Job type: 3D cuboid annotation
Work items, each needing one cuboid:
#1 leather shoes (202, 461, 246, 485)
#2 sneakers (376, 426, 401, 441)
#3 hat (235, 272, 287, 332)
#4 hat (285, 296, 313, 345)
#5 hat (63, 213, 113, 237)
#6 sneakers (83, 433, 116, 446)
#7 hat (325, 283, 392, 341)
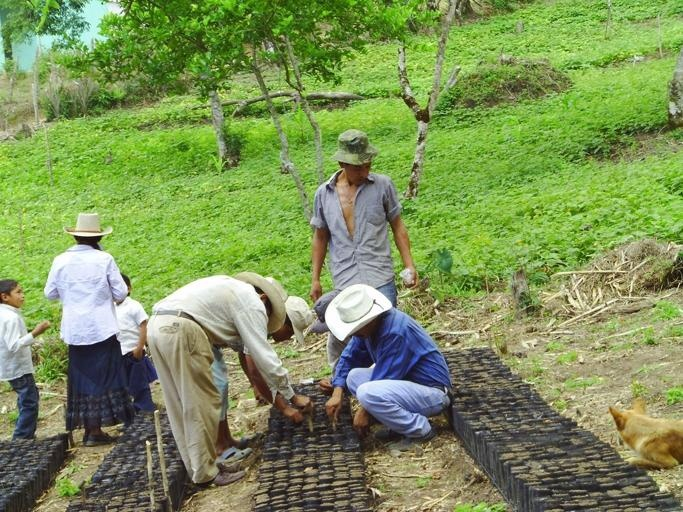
[{"bbox_3d":[-1.253,2.321,8.874,0.383,0.169,0.219,-5,33,-9],"label":"leather shoes"},{"bbox_3d":[0.520,1.925,9.002,0.285,0.116,0.118,10,13,-1],"label":"sneakers"},{"bbox_3d":[-0.773,0.522,8.912,0.188,0.613,0.616,-22,25,-36],"label":"hat"},{"bbox_3d":[-0.509,0.723,9.062,0.220,0.464,0.357,-26,-18,27],"label":"hat"},{"bbox_3d":[-3.101,-0.371,10.172,0.525,0.319,0.568,-11,10,-17],"label":"hat"},{"bbox_3d":[-2.968,2.249,10.205,0.405,0.149,0.140,0,1,-13],"label":"sneakers"},{"bbox_3d":[0.139,0.585,8.726,0.638,0.237,0.579,-34,40,2],"label":"hat"}]
